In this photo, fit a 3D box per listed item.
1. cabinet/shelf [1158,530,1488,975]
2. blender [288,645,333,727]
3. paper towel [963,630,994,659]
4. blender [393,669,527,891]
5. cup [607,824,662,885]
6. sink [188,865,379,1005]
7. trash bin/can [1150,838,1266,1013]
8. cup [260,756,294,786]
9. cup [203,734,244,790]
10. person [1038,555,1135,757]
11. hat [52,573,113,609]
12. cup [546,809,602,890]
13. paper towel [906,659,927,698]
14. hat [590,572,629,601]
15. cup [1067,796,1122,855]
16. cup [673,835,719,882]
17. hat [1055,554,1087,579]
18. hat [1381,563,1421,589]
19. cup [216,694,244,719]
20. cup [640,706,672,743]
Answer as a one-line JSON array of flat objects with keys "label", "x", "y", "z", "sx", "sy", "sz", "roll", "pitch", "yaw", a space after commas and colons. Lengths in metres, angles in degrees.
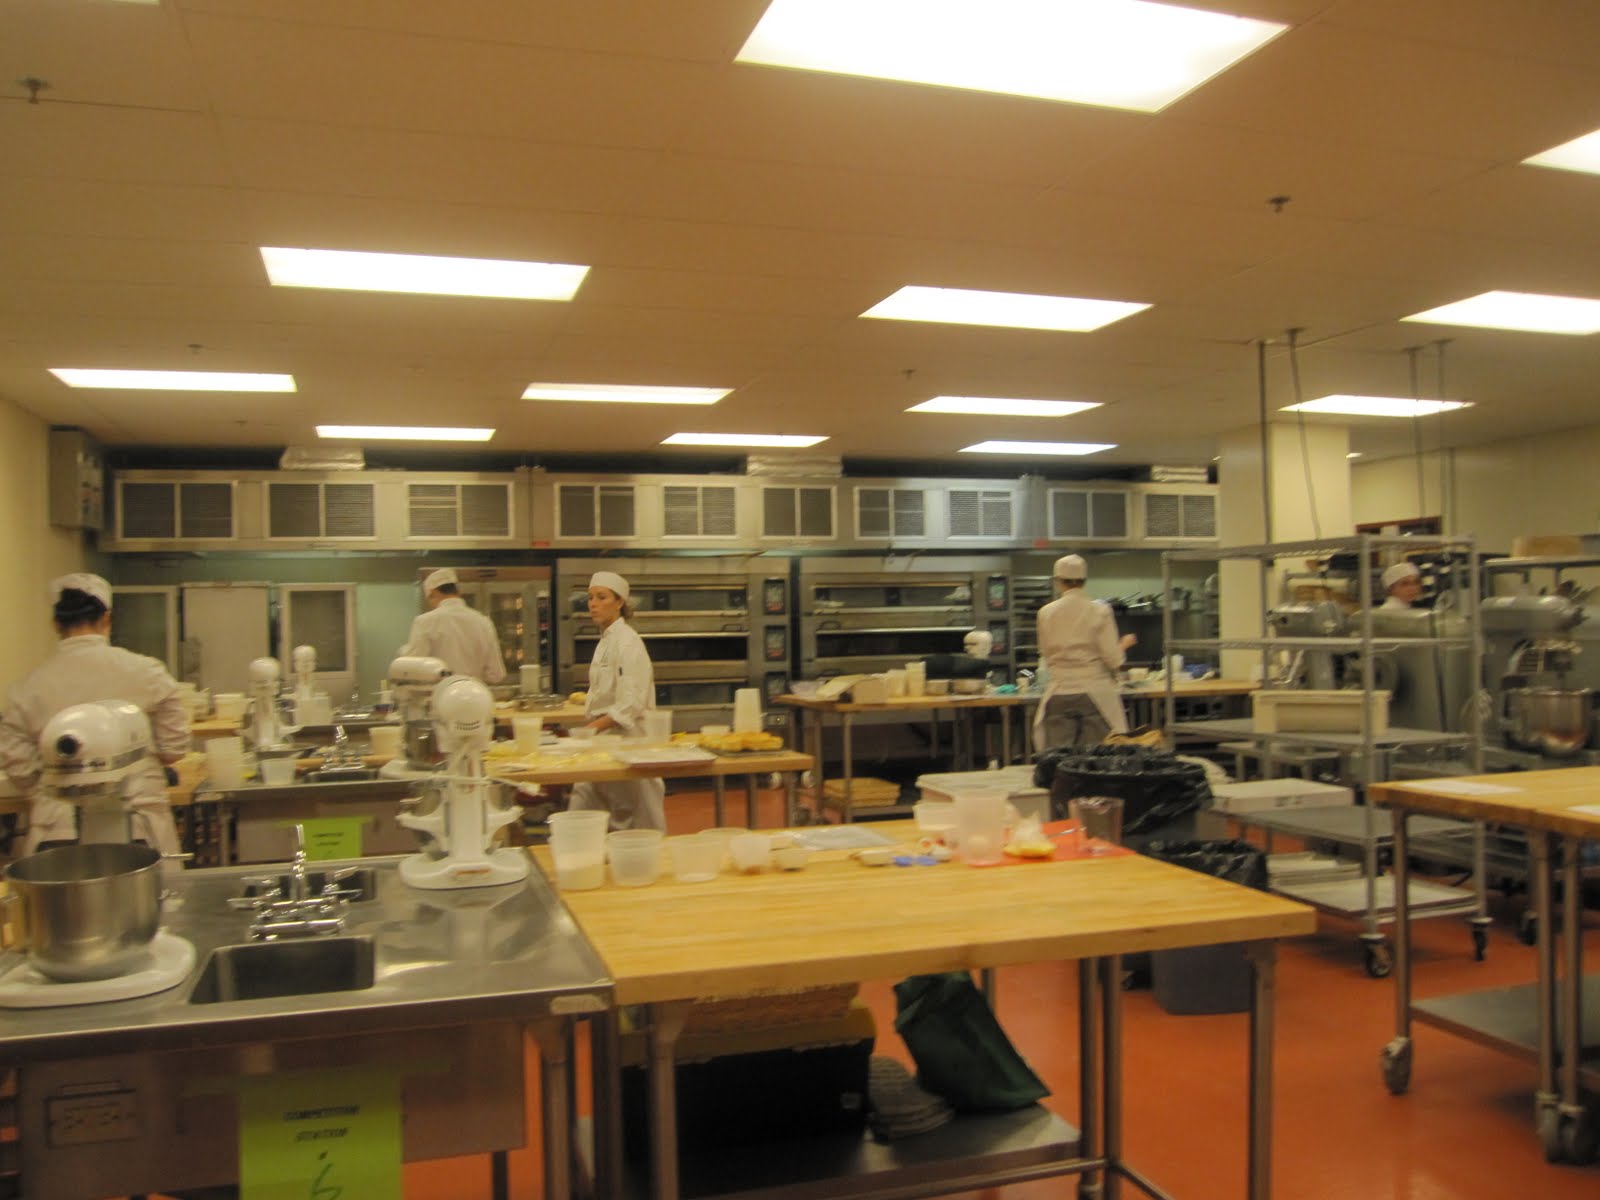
[{"label": "cabinet/shelf", "x": 2.772, "y": 0.298, "z": 7.085, "sx": 1.151, "sy": 2.518, "sz": 2.666, "roll": -11, "pitch": -2, "yaw": 26}, {"label": "blender", "x": -2.541, "y": 0.453, "z": 6.889, "sx": 0.337, "sy": 0.351, "sz": 0.281, "roll": 2, "pitch": 6, "yaw": -9}, {"label": "paper towel", "x": 1.415, "y": 0.339, "z": 10.243, "sx": 0.229, "sy": 0.187, "sz": 0.244, "roll": 4, "pitch": -3, "yaw": -9}, {"label": "blender", "x": -0.889, "y": 0.473, "z": 3.559, "sx": 0.329, "sy": 0.527, "sz": 0.362, "roll": 0, "pitch": 16, "yaw": -10}, {"label": "cup", "x": -0.430, "y": 0.667, "z": 3.568, "sx": 0.175, "sy": 0.089, "sz": 0.146, "roll": 0, "pitch": 2, "yaw": 6}, {"label": "sink", "x": -1.198, "y": 0.840, "z": 3.208, "sx": 0.416, "sy": 0.173, "sz": 0.469, "roll": -1, "pitch": 13, "yaw": -10}, {"label": "trash bin/can", "x": 1.619, "y": 1.282, "z": 5.358, "sx": 0.409, "sy": 0.611, "sz": 0.447, "roll": 7, "pitch": 16, "yaw": 15}, {"label": "cup", "x": -2.081, "y": 0.672, "z": 5.349, "sx": 0.170, "sy": 0.085, "sz": 0.122, "roll": 0, "pitch": -2, "yaw": -14}, {"label": "cup", "x": -2.278, "y": 0.641, "z": 5.329, "sx": 0.156, "sy": 0.255, "sz": 0.315, "roll": -4, "pitch": 15, "yaw": -22}, {"label": "person", "x": 1.749, "y": 0.371, "z": 8.228, "sx": 0.605, "sy": 1.247, "sz": 0.870, "roll": 5, "pitch": 16, "yaw": 8}, {"label": "hat", "x": -2.721, "y": -0.037, "z": 5.102, "sx": 0.198, "sy": 0.082, "sz": 0.168, "roll": 0, "pitch": -3, "yaw": -20}, {"label": "cup", "x": -0.579, "y": 0.633, "z": 3.523, "sx": 0.142, "sy": 0.221, "sz": 0.174, "roll": 1, "pitch": 15, "yaw": -7}, {"label": "paper towel", "x": 0.779, "y": 0.534, "z": 9.217, "sx": 0.261, "sy": 0.257, "sz": 0.226, "roll": 0, "pitch": -3, "yaw": -3}, {"label": "hat", "x": -0.921, "y": -0.082, "z": 6.564, "sx": 0.198, "sy": 0.084, "sz": 0.169, "roll": 14, "pitch": -4, "yaw": 7}, {"label": "cup", "x": 0.866, "y": 0.666, "z": 3.968, "sx": 0.200, "sy": 0.122, "sz": 0.133, "roll": -1, "pitch": -2, "yaw": -1}, {"label": "cup", "x": -0.277, "y": 0.679, "z": 3.560, "sx": 0.144, "sy": 0.071, "sz": 0.120, "roll": 0, "pitch": -3, "yaw": -13}, {"label": "hat", "x": 1.692, "y": -0.207, "z": 8.318, "sx": 0.203, "sy": 0.115, "sz": 0.237, "roll": 1, "pitch": -5, "yaw": -2}, {"label": "hat", "x": 3.621, "y": -0.149, "z": 8.046, "sx": 0.183, "sy": 0.076, "sz": 0.168, "roll": -15, "pitch": 7, "yaw": -30}, {"label": "cup", "x": -3.126, "y": 0.595, "z": 7.391, "sx": 0.149, "sy": 0.118, "sz": 0.247, "roll": -3, "pitch": 14, "yaw": -19}, {"label": "cup", "x": -0.614, "y": 0.576, "z": 6.206, "sx": 0.199, "sy": 0.139, "sz": 0.167, "roll": 1, "pitch": -3, "yaw": -17}]
